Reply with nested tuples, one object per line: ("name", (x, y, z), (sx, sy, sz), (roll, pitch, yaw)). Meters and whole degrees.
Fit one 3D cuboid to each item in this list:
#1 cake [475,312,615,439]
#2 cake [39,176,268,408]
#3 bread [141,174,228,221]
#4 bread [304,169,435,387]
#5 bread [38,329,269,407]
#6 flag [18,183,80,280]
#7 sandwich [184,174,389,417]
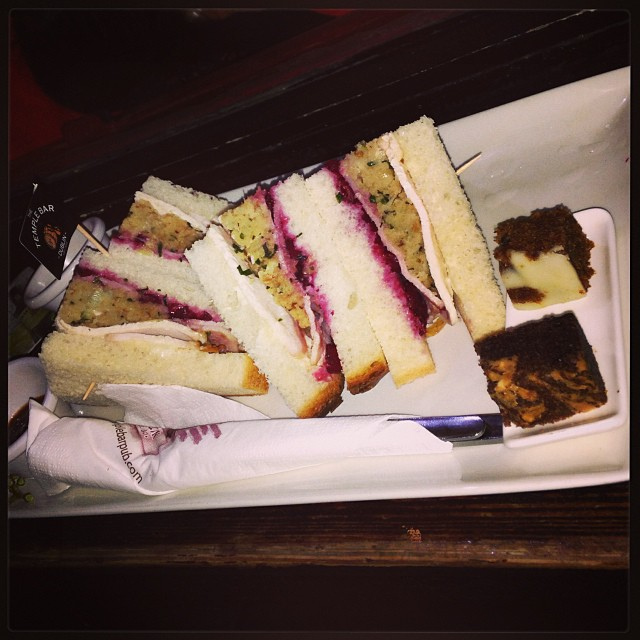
("cake", (0.592, 0.180, 1.728), (0.456, 0.348, 0.093), (-6, -20, 40))
("cake", (-0.392, -0.073, 1.841), (0.779, 0.703, 0.215), (-18, -25, 13))
("bread", (-0.362, -0.338, 1.809), (0.231, 0.042, 0.076), (-11, -15, -33))
("bread", (0.141, -0.095, 1.814), (0.213, 0.680, 0.157), (-25, 6, 11))
("bread", (-0.349, 0.082, 1.936), (0.770, 0.136, 0.477), (-1, 9, 0))
("flag", (-0.714, -0.238, 1.746), (0.034, 0.261, 0.264), (-9, 9, 16))
("sandwich", (-0.064, -0.071, 1.950), (0.505, 0.668, 0.262), (-31, 6, 2))
